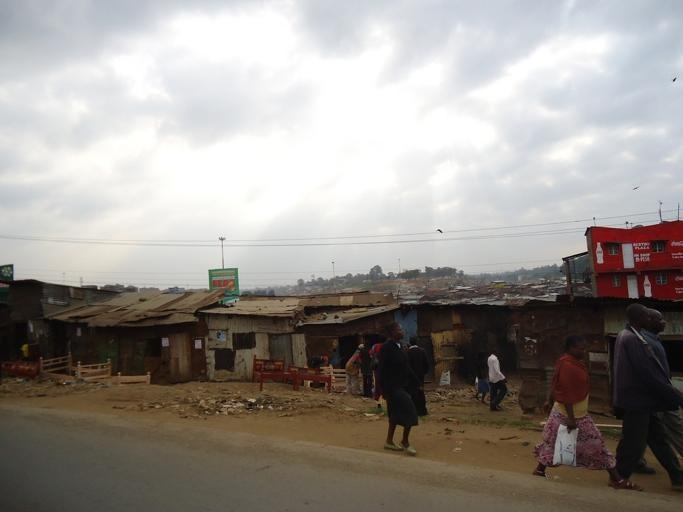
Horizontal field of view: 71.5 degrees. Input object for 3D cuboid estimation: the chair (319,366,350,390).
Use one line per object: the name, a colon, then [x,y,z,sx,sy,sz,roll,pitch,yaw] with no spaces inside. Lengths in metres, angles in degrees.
chair: [-0.246,4.699,18.321,1.113,0.697,0.822,-1,0,9]

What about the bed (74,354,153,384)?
bed: [-9.991,5.048,21.112,2.187,0.674,1.297,3,-8,-2]

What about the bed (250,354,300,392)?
bed: [-2.474,4.294,17.192,1.417,0.957,1.480,5,-9,-17]

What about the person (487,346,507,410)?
person: [4.821,3.915,14.707,0.505,1.657,0.693,-5,-5,16]
